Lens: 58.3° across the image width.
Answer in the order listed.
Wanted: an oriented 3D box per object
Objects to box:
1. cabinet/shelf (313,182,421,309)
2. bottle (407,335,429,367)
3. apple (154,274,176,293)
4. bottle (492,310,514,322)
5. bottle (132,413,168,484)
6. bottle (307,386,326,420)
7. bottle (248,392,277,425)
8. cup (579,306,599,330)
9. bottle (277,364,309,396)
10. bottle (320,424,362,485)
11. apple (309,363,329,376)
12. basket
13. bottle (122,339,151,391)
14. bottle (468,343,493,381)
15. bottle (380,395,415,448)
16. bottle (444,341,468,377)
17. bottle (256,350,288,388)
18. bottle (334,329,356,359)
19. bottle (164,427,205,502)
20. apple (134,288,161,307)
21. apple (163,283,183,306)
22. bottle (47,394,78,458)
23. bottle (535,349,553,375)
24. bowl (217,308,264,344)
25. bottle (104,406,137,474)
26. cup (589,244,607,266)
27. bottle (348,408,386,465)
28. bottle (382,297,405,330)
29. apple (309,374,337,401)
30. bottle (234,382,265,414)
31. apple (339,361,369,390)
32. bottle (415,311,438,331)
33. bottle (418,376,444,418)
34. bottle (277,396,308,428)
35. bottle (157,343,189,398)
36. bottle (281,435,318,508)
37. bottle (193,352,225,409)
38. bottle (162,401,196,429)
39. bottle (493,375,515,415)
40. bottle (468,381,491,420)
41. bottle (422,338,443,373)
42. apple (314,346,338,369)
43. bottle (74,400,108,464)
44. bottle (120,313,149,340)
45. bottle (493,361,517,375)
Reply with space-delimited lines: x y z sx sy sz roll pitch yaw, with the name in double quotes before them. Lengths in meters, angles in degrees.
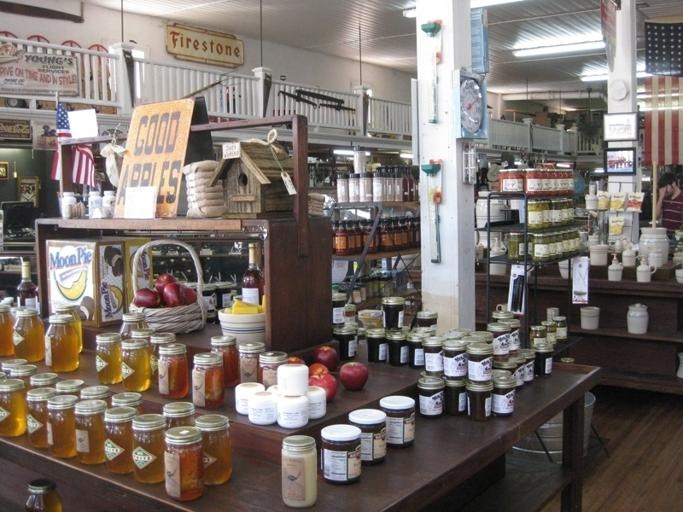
"cabinet/shelf" 0.309 -0.004 5.595 0.332 0.911 0.809 -12 8 -3
"bottle" 0.318 0.408 2.614 0.116 0.170 0.116 0 -1 0
"apple" -0.827 0.133 2.878 0.092 0.092 0.095 1 32 -4
"bottle" 0.795 0.300 3.018 0.140 0.040 0.139 0 4 0
"bottle" -0.615 0.622 1.970 0.111 0.215 0.052 -3 6 -8
"bottle" -0.084 0.506 2.106 0.092 0.082 0.089 -1 0 -2
"bottle" -0.258 0.515 2.056 0.102 0.090 0.100 0 0 -1
"cup" 2.154 0.547 5.393 0.188 0.195 0.186 0 1 0
"bottle" -0.164 0.426 2.095 0.101 0.084 0.098 0 -1 -5
"bottle" -0.005 0.612 1.934 0.158 0.165 0.154 -1 2 -11
"apple" -0.086 0.430 2.318 0.048 0.046 0.046 -1 1 3
"basket" -0.803 0.134 2.814 0.351 0.413 0.311 0 -1 -11
"bottle" -0.796 0.428 2.380 0.098 0.202 0.054 -5 6 -26
"bottle" 0.532 0.411 2.359 0.091 0.133 0.083 -2 6 0
"bottle" 0.205 0.585 2.218 0.149 0.156 0.145 -4 5 -38
"bottle" 0.445 0.406 2.392 0.092 0.144 0.052 -1 6 10
"bottle" -0.248 0.421 2.225 0.092 0.119 0.122 0 0 -7
"bottle" 0.024 0.384 2.723 0.123 0.132 0.125 -1 1 -1
"bottle" -0.481 0.641 1.878 0.111 0.214 0.051 -3 6 -16
"apple" -0.857 0.184 2.760 0.102 0.079 0.076 10 -6 12
"apple" -0.754 0.179 2.799 0.093 0.100 0.095 -9 -5 4
"bottle" -0.987 0.598 2.158 0.136 0.210 0.061 0 6 14
"bottle" 0.902 0.486 2.786 0.100 0.109 0.104 0 -2 -5
"bowl" -0.407 0.292 2.516 0.215 0.121 0.100 1 7 21
"bottle" -0.750 0.612 2.044 0.132 0.210 0.067 0 6 14
"cup" 2.345 -0.001 5.533 0.172 0.171 0.167 -1 1 0
"bottle" 0.109 0.587 2.042 0.151 0.159 0.151 0 4 16
"bottle" 0.241 0.281 2.946 0.134 0.138 0.132 0 -1 -5
"apple" -0.059 0.469 2.241 0.095 0.085 0.092 -5 1 -25
"bottle" -0.320 0.486 2.132 0.104 0.087 0.102 1 1 -5
"apple" 0.047 0.462 2.353 0.102 0.097 0.103 -2 -1 0
"bottle" 0.397 0.301 2.827 0.081 0.078 0.079 0 0 -7
"bottle" 0.340 0.538 2.369 0.137 0.137 0.134 -1 2 -7
"bottle" -0.159 0.519 2.023 0.101 0.091 0.099 0 -1 -4
"bottle" -0.633 0.435 2.321 0.112 0.204 0.083 -4 6 -18
"bottle" -0.132 0.640 1.844 0.115 0.204 0.099 -1 6 3
"bottle" -0.489 0.447 2.257 0.119 0.195 0.133 -3 6 -16
"bottle" -0.538 0.526 2.030 0.082 0.077 0.080 1 0 3
"bottle" 0.624 0.543 2.367 0.091 0.153 0.055 -2 6 -1
"bottle" 0.529 0.548 2.336 0.095 0.141 0.055 -1 6 10
"bottle" 0.369 0.396 2.463 0.122 0.123 0.119 -1 0 -12
"apple" -0.060 0.419 2.556 0.086 0.077 0.084 -2 5 -4
"bottle" -0.854 0.603 2.091 0.113 0.213 0.061 -2 6 -6
"bottle" -0.866 0.282 2.577 0.125 0.111 0.121 0 0 -13
"bottle" 0.678 0.458 2.531 0.076 0.069 0.074 -1 0 -22
